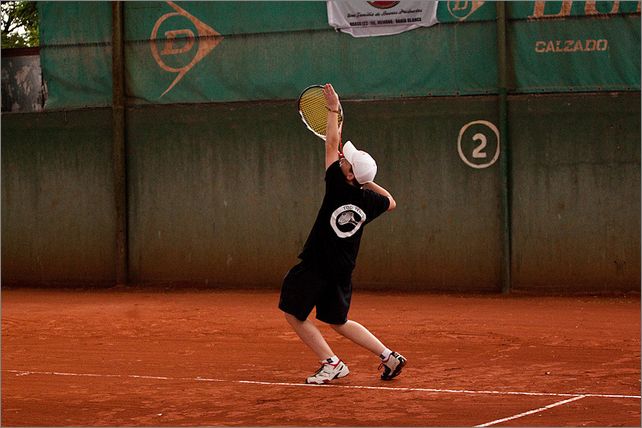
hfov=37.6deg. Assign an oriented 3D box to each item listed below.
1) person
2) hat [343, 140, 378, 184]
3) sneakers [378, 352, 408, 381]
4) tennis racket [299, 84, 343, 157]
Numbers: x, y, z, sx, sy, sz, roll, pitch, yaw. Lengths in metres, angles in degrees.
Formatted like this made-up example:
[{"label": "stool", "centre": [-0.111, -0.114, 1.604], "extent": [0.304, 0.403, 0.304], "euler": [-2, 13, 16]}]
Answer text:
[{"label": "person", "centre": [0.212, 0.273, 12.586], "extent": [1.556, 3.964, 0.743], "euler": [-2, 11, -3]}, {"label": "hat", "centre": [0.508, -0.666, 12.556], "extent": [0.288, 0.583, 0.382], "euler": [-16, 6, 44]}, {"label": "sneakers", "centre": [0.977, 2.032, 12.639], "extent": [0.266, 0.192, 0.534], "euler": [19, -45, -1]}, {"label": "tennis racket", "centre": [0.034, -1.384, 13.281], "extent": [0.453, 1.192, 0.090], "euler": [-25, 0, 44]}]
